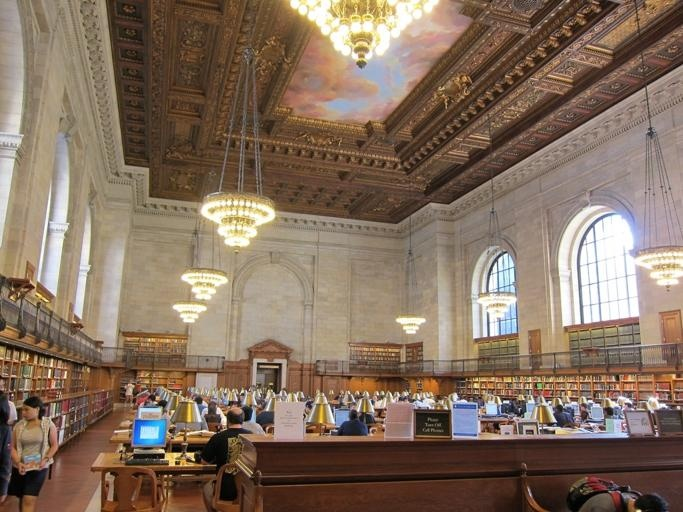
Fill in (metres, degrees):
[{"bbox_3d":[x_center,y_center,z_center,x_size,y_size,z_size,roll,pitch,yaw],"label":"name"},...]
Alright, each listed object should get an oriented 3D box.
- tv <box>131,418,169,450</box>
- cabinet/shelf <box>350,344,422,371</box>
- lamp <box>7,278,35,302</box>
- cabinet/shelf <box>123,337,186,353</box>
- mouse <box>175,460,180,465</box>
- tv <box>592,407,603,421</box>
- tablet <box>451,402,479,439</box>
[{"bbox_3d":[-2.032,1.889,5.407,0.477,0.393,0.269,4,-21,-15],"label":"tv"},{"bbox_3d":[2.059,4.473,22.406,3.164,1.222,1.443,-5,-18,14],"label":"cabinet/shelf"},{"bbox_3d":[-4.798,0.478,7.453,0.298,0.227,0.463,-1,-7,-19],"label":"lamp"},{"bbox_3d":[-7.555,3.578,20.277,2.432,0.683,0.206,4,-17,-15],"label":"cabinet/shelf"},{"bbox_3d":[-1.734,2.185,5.280,0.040,0.028,0.041,-2,-8,21],"label":"mouse"},{"bbox_3d":[5.313,3.263,10.302,0.205,0.286,0.154,-4,-12,22],"label":"tv"},{"bbox_3d":[0.960,1.268,3.844,0.228,0.262,0.024,-13,-26,39],"label":"tablet"}]
